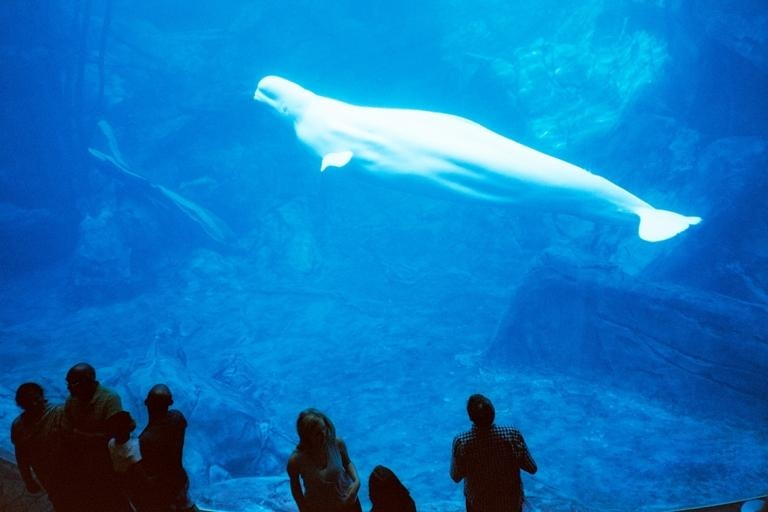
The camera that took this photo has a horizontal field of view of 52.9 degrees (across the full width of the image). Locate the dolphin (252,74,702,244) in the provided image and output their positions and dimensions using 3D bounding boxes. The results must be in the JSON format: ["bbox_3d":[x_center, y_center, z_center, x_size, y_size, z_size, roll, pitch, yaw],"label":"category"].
[{"bbox_3d":[0.932,-1.192,9.017,4.835,2.012,0.870,16,-19,0],"label":"dolphin"}]
